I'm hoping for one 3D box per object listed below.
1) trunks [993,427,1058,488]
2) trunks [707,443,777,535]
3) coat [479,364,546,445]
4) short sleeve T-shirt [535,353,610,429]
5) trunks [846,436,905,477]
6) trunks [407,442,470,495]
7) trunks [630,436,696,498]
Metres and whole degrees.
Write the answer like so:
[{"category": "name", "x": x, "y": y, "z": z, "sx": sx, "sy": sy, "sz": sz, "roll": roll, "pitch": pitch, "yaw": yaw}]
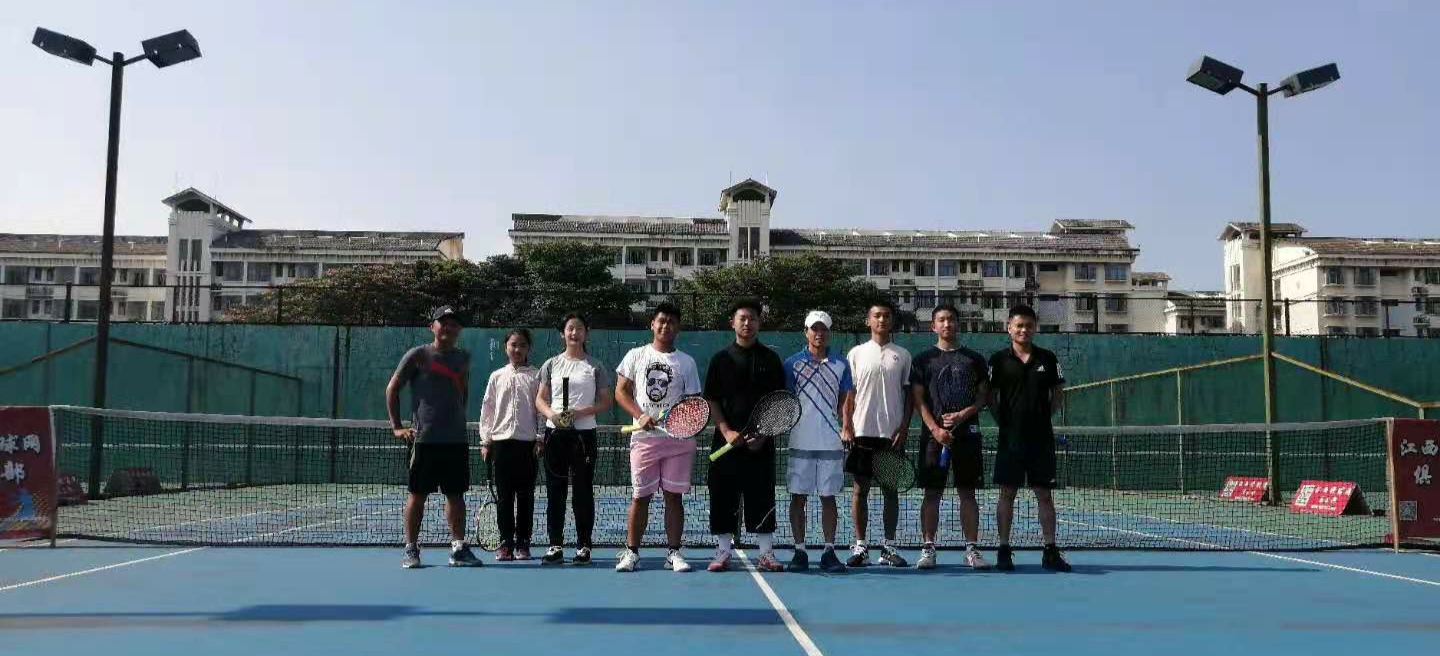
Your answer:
[{"category": "trunks", "x": 8.243, "y": 3.405, "z": 40.016, "sx": 1.830, "sy": 1.531, "sz": 1.026, "roll": 3, "pitch": -6, "yaw": 29}, {"category": "trunks", "x": 0.609, "y": 4.151, "z": 39.442, "sx": 2.461, "sy": 2.930, "sz": 1.158, "roll": 3, "pitch": -13, "yaw": -5}, {"category": "coat", "x": -5.422, "y": 2.074, "z": 40.113, "sx": 2.358, "sy": 2.184, "sz": 1.216, "roll": 2, "pitch": -11, "yaw": -4}, {"category": "short sleeve T-shirt", "x": -3.901, "y": 1.567, "z": 40.246, "sx": 2.017, "sy": 1.693, "sz": 1.001, "roll": 5, "pitch": 4, "yaw": 3}, {"category": "trunks", "x": 4.077, "y": 3.113, "z": 39.937, "sx": 1.899, "sy": 1.190, "sz": 0.999, "roll": 3, "pitch": -25, "yaw": -2}, {"category": "trunks", "x": -7.478, "y": 3.682, "z": 40.246, "sx": 2.306, "sy": 1.740, "sz": 1.245, "roll": 2, "pitch": -1, "yaw": -8}, {"category": "trunks", "x": -1.706, "y": 3.611, "z": 39.796, "sx": 1.942, "sy": 1.630, "sz": 1.069, "roll": 2, "pitch": -5, "yaw": -28}]
